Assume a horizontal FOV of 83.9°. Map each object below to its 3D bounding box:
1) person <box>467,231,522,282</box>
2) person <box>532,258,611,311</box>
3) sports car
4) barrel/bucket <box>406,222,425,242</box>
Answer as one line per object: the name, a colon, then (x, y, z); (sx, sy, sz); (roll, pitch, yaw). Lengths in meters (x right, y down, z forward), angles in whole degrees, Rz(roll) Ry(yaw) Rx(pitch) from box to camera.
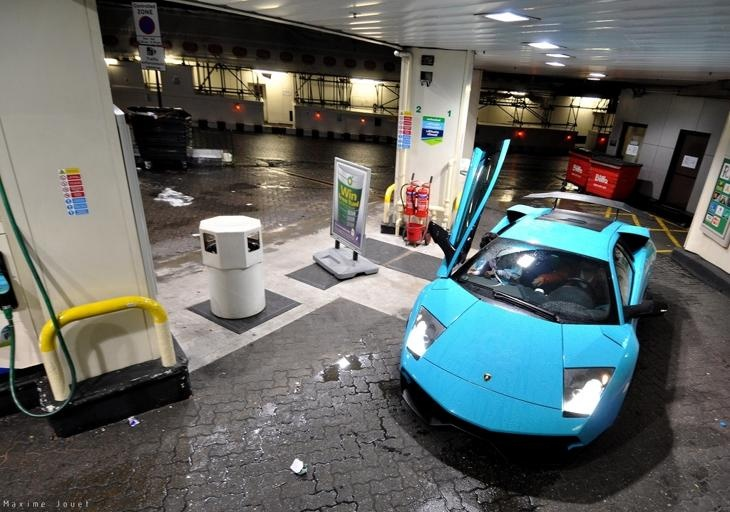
person: (1.846, 0.052, 5.728); (0.517, 0.712, 0.224); (28, -8, 22)
person: (2.815, 0.391, 5.369); (0.603, 0.367, 0.810); (14, 48, 18)
sports car: (2.243, 0.937, 6.376); (2.926, 2.710, 4.788); (20, 41, 27)
barrel/bucket: (1.144, -0.545, 9.422); (0.407, 0.331, 0.459); (10, 12, 36)
